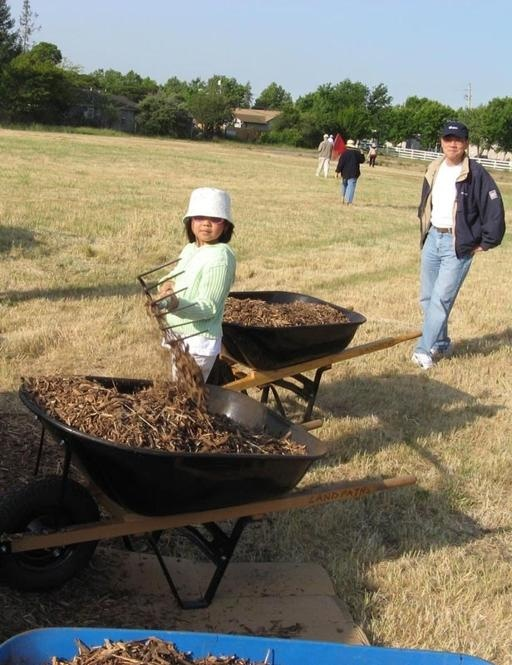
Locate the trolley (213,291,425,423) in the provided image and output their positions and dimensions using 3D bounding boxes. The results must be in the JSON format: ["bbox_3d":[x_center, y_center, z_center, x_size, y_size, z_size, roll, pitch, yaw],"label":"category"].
[{"bbox_3d":[0.330,0.119,4.721,1.629,0.698,0.828,1,15,-32],"label":"trolley"}]

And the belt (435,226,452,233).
[{"bbox_3d":[1.803,-0.999,6.412,0.082,0.047,0.113,-7,11,-41],"label":"belt"}]

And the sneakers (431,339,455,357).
[{"bbox_3d":[1.976,0.194,7.055,0.273,0.107,0.189,-16,31,-13],"label":"sneakers"}]

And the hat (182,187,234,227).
[{"bbox_3d":[-0.240,-0.670,3.498,0.223,0.169,0.169,4,12,-4],"label":"hat"}]

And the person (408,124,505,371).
[{"bbox_3d":[1.935,-0.806,6.484,0.727,2.358,0.897,6,13,0],"label":"person"}]

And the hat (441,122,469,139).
[{"bbox_3d":[1.783,-1.823,5.973,0.216,0.171,0.361,8,12,13],"label":"hat"}]
